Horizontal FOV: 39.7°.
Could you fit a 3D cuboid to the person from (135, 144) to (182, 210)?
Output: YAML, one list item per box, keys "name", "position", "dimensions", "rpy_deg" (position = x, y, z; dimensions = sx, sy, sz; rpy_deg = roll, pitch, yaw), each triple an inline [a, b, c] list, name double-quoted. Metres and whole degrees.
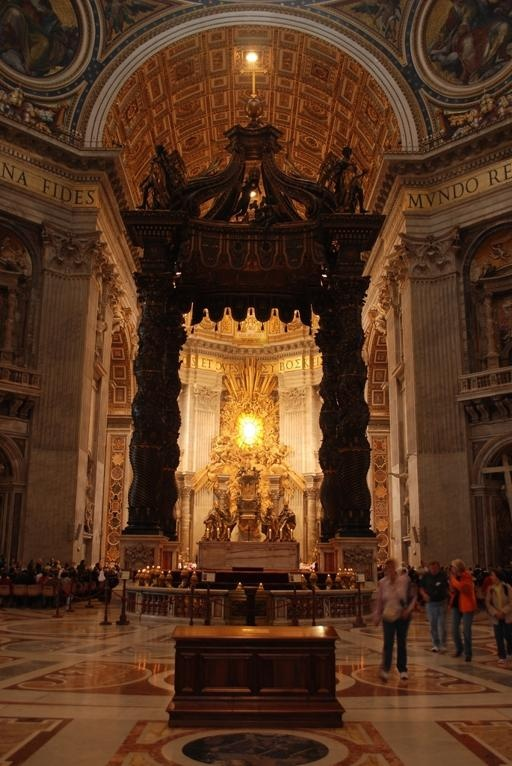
- name: "person"
  position: [-1.745, -3.794, 13.486]
  dimensions: [0.801, 1.511, 0.700]
  rpy_deg: [4, -16, -10]
